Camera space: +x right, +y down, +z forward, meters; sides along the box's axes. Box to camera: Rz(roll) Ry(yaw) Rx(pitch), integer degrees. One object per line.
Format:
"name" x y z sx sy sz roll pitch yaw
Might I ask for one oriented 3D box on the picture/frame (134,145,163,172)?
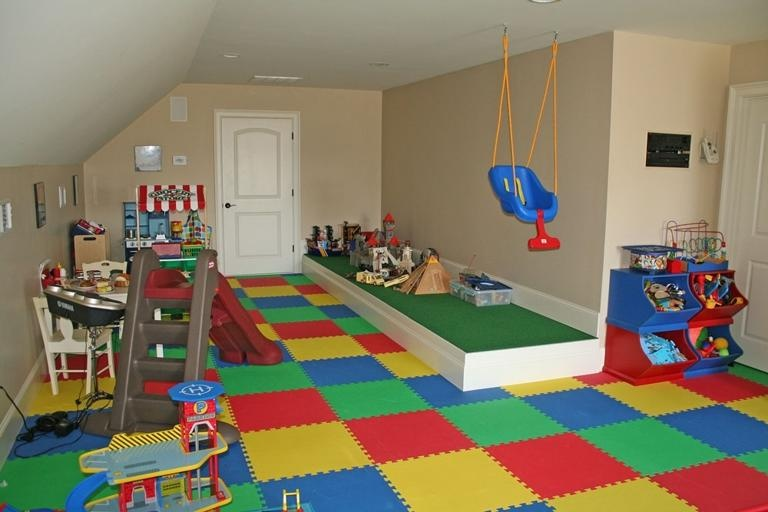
"picture/frame" -3.589 -1.479 8.262 0.409 0.413 0.041 0 8 -16

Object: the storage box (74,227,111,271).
"storage box" -3.564 -0.120 6.961 0.573 0.562 0.449 -1 9 -12

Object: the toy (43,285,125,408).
"toy" -2.657 0.795 4.817 0.709 0.891 0.576 11 23 -3

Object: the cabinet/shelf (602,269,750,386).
"cabinet/shelf" 2.838 0.631 5.417 1.260 1.077 0.540 -3 14 -14

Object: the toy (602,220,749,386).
"toy" 2.810 0.505 5.385 1.504 1.747 0.631 -3 5 -23
